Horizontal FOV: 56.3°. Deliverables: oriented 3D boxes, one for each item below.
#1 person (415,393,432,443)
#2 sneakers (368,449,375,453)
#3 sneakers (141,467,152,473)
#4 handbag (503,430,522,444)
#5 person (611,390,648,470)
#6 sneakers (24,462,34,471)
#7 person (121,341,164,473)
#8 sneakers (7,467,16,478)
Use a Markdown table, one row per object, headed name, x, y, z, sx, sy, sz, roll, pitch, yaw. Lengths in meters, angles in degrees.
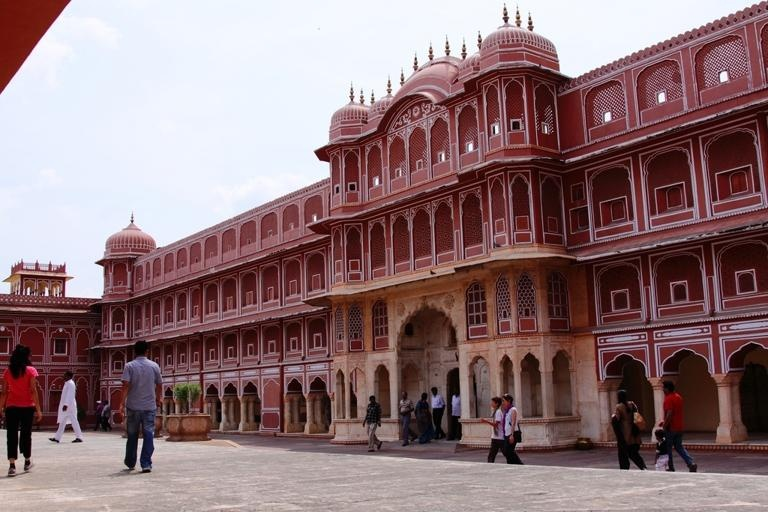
| name | x | y | z | sx | sy | sz | roll | pitch | yaw |
| --- | --- | --- | --- | --- | --- | --- | --- | --- | --- |
| person | 1.371 | 5.539 | 24.781 | 0.581 | 1.730 | 0.907 | -1 | -16 | 3 |
| sneakers | -0.404 | 6.099 | 22.617 | 0.258 | 0.108 | 0.086 | 17 | -27 | -36 |
| sneakers | -3.729 | 3.342 | 11.274 | 0.065 | 0.086 | 0.195 | 10 | -28 | -35 |
| handbag | 2.607 | 3.688 | 14.750 | 0.338 | 0.251 | 0.330 | 3 | -13 | -15 |
| person | 4.736 | 3.315 | 14.042 | 0.557 | 1.576 | 2.148 | -6 | -17 | 18 |
| sneakers | -5.865 | 3.452 | 11.838 | 0.090 | 0.095 | 0.223 | 0 | 4 | 5 |
| person | -4.048 | 2.451 | 11.918 | 0.629 | 2.153 | 1.299 | 4 | -17 | -17 |
| sneakers | -5.812 | 3.346 | 11.211 | 0.114 | 0.128 | 0.304 | 5 | -15 | -26 |
